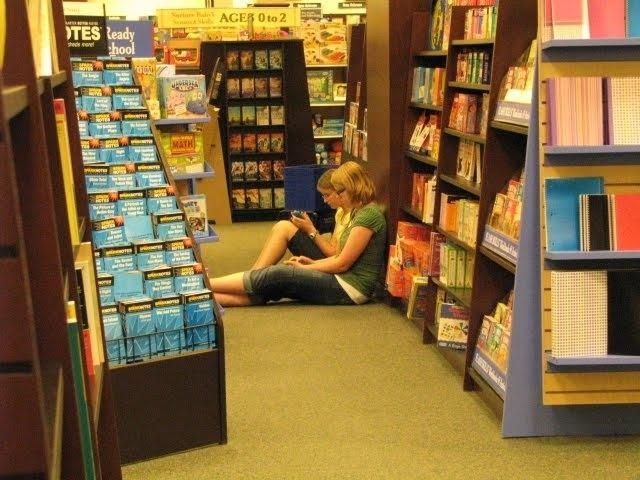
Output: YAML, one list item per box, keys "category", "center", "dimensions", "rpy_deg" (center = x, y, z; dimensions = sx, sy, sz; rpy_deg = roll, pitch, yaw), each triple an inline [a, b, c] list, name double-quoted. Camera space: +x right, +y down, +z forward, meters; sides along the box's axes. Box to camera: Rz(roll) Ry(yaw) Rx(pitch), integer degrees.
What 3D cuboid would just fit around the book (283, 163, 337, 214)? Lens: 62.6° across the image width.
- category: "book"
  center: [-0.141, -0.697, 7.037]
  dimensions: [0.599, 0.645, 0.627]
  rpy_deg: [-3, 5, -31]
